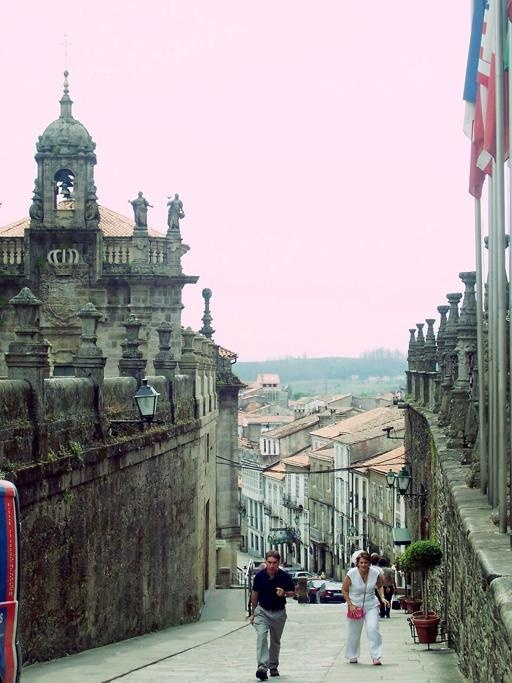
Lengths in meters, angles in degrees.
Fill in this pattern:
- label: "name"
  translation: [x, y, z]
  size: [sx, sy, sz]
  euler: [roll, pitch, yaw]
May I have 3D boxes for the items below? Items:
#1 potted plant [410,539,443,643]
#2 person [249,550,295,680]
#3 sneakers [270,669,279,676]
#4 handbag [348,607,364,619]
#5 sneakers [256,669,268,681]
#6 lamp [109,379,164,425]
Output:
- label: "potted plant"
  translation: [1.826, 2.700, 14.331]
  size: [0.291, 1.143, 0.358]
  euler: [-2, -4, -13]
- label: "person"
  translation: [0.168, 2.539, 12.424]
  size: [0.411, 0.773, 0.782]
  euler: [-2, -2, -1]
- label: "sneakers"
  translation: [0.169, 3.071, 12.272]
  size: [0.085, 0.047, 0.132]
  euler: [-4, -3, -6]
- label: "handbag"
  translation: [0.978, 2.669, 12.983]
  size: [0.170, 0.085, 0.148]
  euler: [-4, -3, -9]
- label: "sneakers"
  translation: [0.059, 3.026, 12.038]
  size: [0.092, 0.075, 0.118]
  euler: [-3, -3, -7]
- label: "lamp"
  translation: [-1.502, 0.811, 17.079]
  size: [0.515, 0.454, 0.373]
  euler: [-9, -11, 18]
